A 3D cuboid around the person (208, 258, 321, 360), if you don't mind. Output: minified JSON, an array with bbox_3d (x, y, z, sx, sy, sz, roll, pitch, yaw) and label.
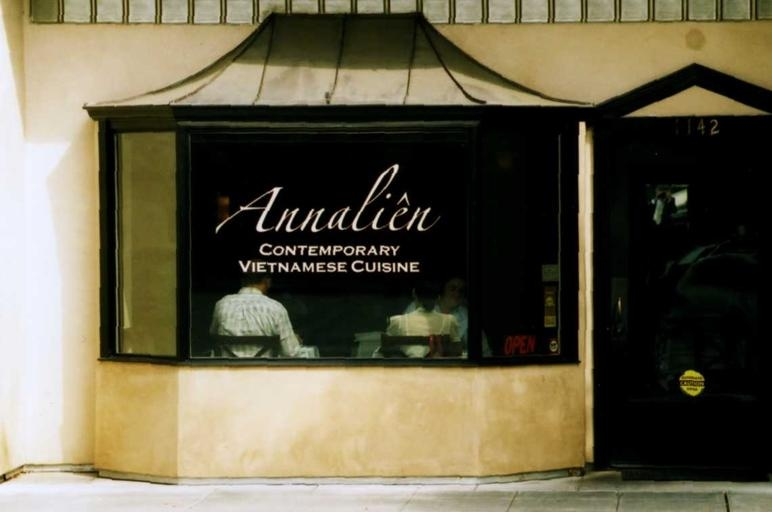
[{"bbox_3d":[-1.466,0.701,14.001,1.488,1.058,0.826,-1,-3,19],"label":"person"}]
